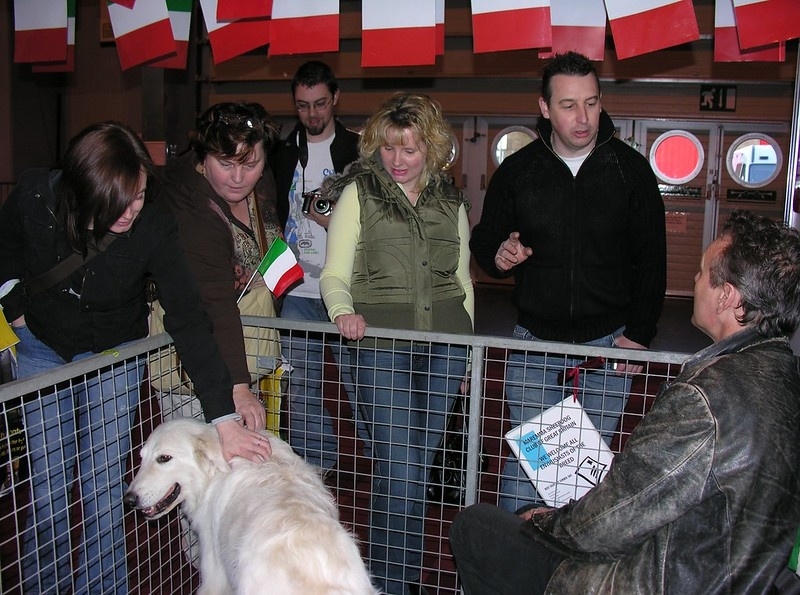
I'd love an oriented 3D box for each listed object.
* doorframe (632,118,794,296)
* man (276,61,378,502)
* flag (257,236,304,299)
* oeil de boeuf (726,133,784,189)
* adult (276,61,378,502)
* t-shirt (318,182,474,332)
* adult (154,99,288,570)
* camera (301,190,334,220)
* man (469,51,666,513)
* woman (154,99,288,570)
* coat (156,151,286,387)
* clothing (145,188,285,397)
[{"bbox_3d":[5.229,-1.638,10.371,2.418,2.947,0.360,6,-7,14],"label":"doorframe"},{"bbox_3d":[-0.516,-0.134,4.210,0.646,2.860,0.811,-2,4,-13],"label":"man"},{"bbox_3d":[-0.621,-0.213,3.411,0.025,0.357,0.301,20,38,26],"label":"flag"},{"bbox_3d":[5.882,-2.293,10.274,0.861,1.016,0.048,14,43,36],"label":"oeil de boeuf"},{"bbox_3d":[-0.527,-0.104,4.167,0.665,2.952,0.878,-2,1,8],"label":"adult"},{"bbox_3d":[0.006,-0.246,3.341,0.806,0.741,0.946,2,11,2],"label":"t-shirt"},{"bbox_3d":[-0.965,0.130,3.485,0.607,2.247,0.641,2,21,2],"label":"adult"},{"bbox_3d":[-0.525,-0.540,3.874,0.208,0.146,0.168,11,-2,-4],"label":"camera"},{"bbox_3d":[0.981,0.176,3.624,1.013,3.148,1.036,-6,19,-5],"label":"man"},{"bbox_3d":[-0.852,0.144,3.533,0.632,2.352,0.697,-5,21,7],"label":"woman"},{"bbox_3d":[-0.882,-0.057,3.173,0.282,1.134,0.891,-13,-4,37],"label":"coat"},{"bbox_3d":[-0.944,-0.262,3.363,0.267,0.558,0.715,-35,53,-29],"label":"clothing"}]
